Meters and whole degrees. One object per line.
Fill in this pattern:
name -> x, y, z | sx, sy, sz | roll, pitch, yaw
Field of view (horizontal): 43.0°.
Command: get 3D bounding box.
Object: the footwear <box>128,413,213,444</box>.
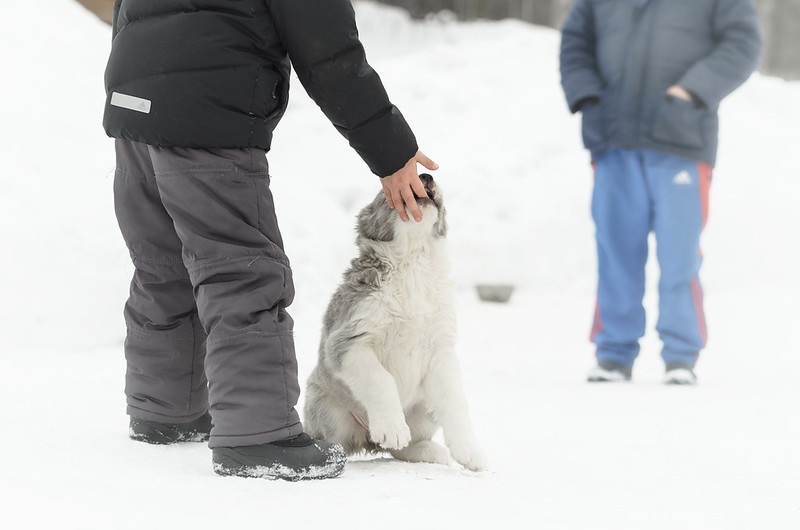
footwear -> -1.456, 1.064, 6.504 | 0.471, 0.186, 0.227 | -1, 1, -23

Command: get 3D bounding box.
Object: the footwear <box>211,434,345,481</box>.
footwear -> -0.714, 1.126, 5.871 | 0.541, 0.187, 0.320 | -1, -3, -2
